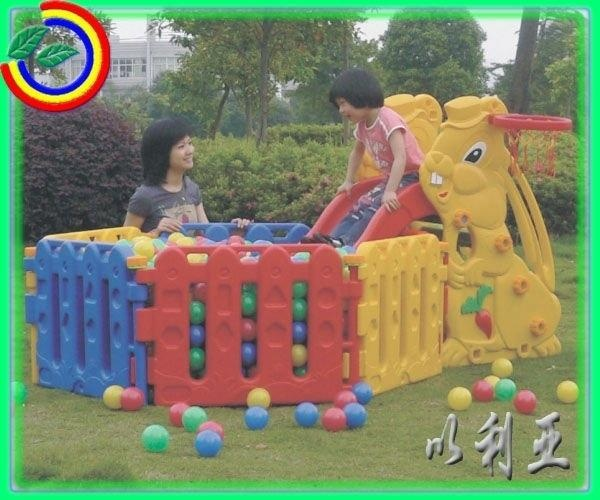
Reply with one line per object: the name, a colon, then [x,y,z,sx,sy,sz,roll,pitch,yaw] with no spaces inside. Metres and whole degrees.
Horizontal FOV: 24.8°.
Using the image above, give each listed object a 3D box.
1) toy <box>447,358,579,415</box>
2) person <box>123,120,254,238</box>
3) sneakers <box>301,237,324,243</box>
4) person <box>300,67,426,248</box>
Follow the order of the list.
toy: [1.931,1.304,12.505,0.901,0.323,1.089,9,9,44]
person: [-1.384,-0.765,14.004,0.834,1.173,0.454,1,6,-9]
sneakers: [0.106,-0.093,13.169,0.135,0.054,0.091,-1,-1,15]
person: [0.750,-0.944,13.794,0.958,1.758,1.269,2,6,1]
